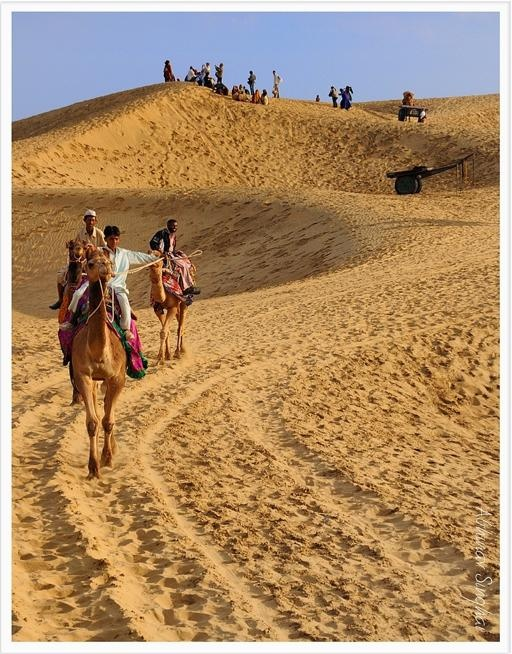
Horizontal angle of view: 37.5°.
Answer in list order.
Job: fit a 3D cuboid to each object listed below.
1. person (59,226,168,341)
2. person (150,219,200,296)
[{"bbox_3d":[-1.734,-0.756,9.818,0.649,1.827,0.772,-1,2,-28],"label":"person"},{"bbox_3d":[-1.493,-1.277,14.383,0.960,1.576,1.039,-9,23,-26],"label":"person"}]
